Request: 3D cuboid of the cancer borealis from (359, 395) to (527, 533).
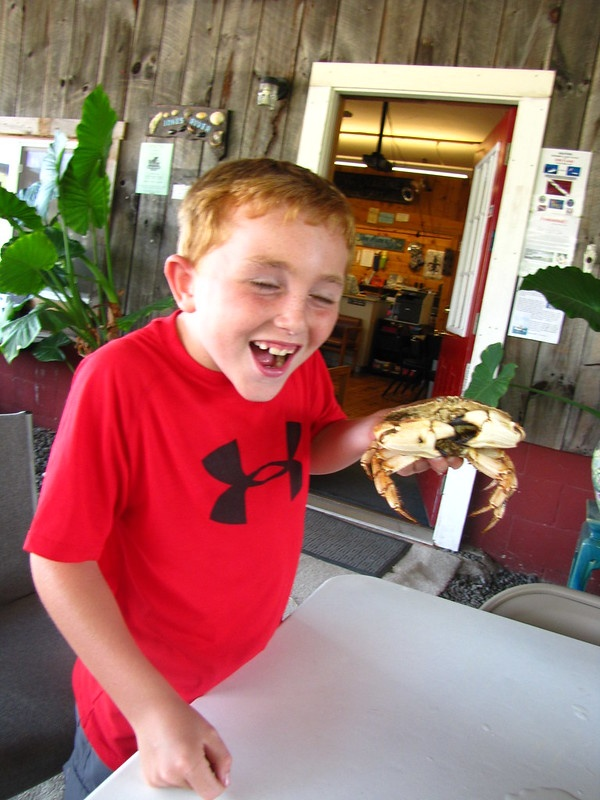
[{"bbox_3d":[0.240,0.070,0.983,0.252,0.080,0.269,-4,39,6],"label":"cancer borealis"}]
